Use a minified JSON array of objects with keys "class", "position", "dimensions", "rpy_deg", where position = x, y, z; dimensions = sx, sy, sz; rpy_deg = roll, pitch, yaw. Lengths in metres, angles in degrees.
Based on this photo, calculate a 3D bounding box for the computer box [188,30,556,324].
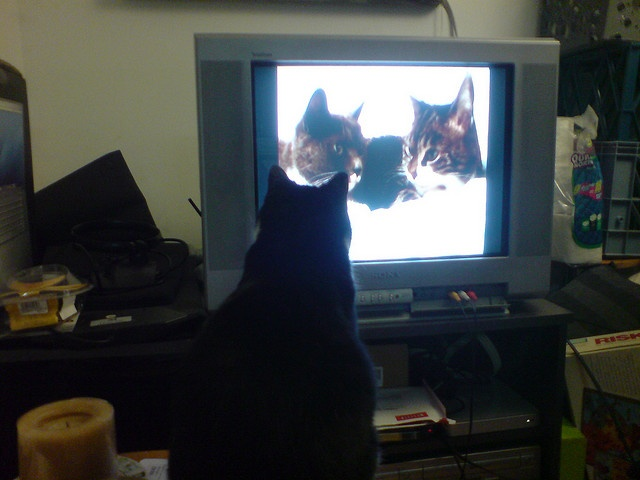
[{"class":"computer box","position":[0.156,-0.204,1.963],"dimensions":[1.119,0.817,0.679],"rpy_deg":[-1,6,-4]}]
